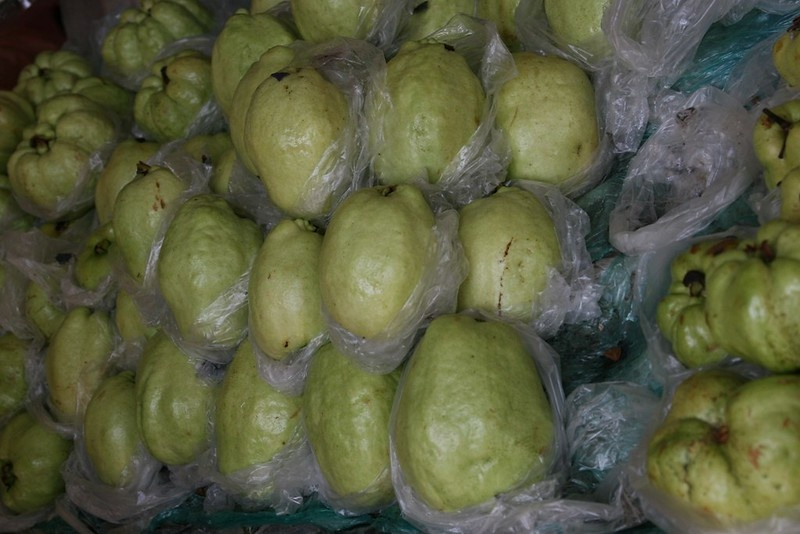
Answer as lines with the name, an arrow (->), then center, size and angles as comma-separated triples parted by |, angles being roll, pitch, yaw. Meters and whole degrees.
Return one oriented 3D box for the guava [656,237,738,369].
guava -> 0.852, 0.107, 2.321 | 0.168, 0.355, 0.270 | 9, 8, -7
